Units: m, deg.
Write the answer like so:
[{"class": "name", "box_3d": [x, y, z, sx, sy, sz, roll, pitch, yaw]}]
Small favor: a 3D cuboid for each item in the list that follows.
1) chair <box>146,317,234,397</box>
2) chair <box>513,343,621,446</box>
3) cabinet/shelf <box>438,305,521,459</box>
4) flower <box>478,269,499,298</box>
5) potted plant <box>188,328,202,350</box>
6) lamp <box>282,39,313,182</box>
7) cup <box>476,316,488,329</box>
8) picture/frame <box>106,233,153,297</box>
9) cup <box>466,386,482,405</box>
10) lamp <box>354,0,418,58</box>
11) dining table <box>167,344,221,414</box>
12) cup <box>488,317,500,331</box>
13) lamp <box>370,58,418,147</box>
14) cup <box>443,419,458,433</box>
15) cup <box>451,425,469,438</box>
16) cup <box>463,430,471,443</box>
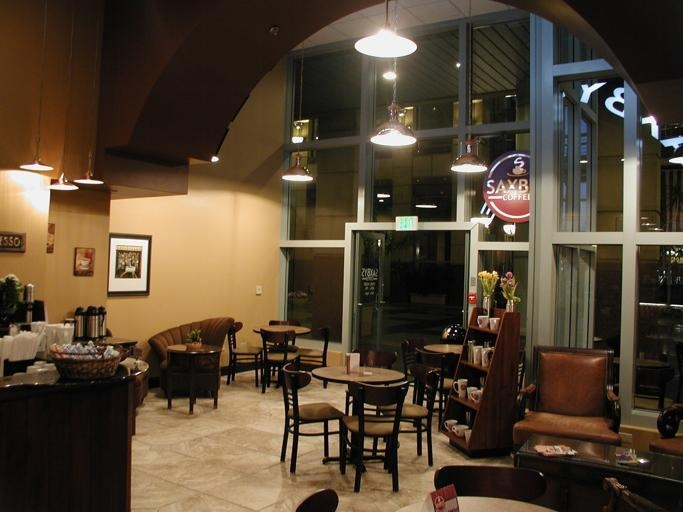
[{"class": "chair", "box_3d": [-2.341, 1.604, 9.117, 1.258, 1.287, 1.300, -6, -10, 20]}, {"class": "chair", "box_3d": [2.478, 1.745, 6.177, 0.961, 1.455, 1.045, 0, -4, 26]}, {"class": "cabinet/shelf", "box_3d": [1.797, 1.368, 6.778, 0.489, 1.368, 0.580, 7, -6, 9]}, {"class": "flower", "box_3d": [1.871, 0.359, 7.133, 0.188, 0.344, 0.512, 1, 4, 18]}, {"class": "potted plant", "box_3d": [-2.231, 1.257, 8.527, 0.234, 0.377, 0.248, -1, 0, -19]}, {"class": "lamp", "box_3d": [-0.661, -2.180, 8.946, 0.402, 1.894, 0.421, 3, 0, 15]}, {"class": "cup", "box_3d": [1.759, 0.817, 7.020, 0.121, 0.111, 0.103, -1, -3, 3]}, {"class": "picture/frame", "box_3d": [-3.262, 0.106, 8.679, 0.656, 0.996, 0.071, 3, -25, -23]}, {"class": "cup", "box_3d": [1.565, 1.645, 6.632, 0.186, 0.144, 0.124, 0, 0, -39]}, {"class": "lamp", "box_3d": [0.369, -1.923, 4.672, 0.372, 0.503, 0.388, -2, 4, -38]}, {"class": "dining table", "box_3d": [-2.248, 1.843, 8.580, 0.728, 0.915, 0.797, -1, -7, 18]}, {"class": "cup", "box_3d": [1.833, 0.833, 6.834, 0.123, 0.149, 0.127, 1, -3, 0]}, {"class": "lamp", "box_3d": [0.573, -1.716, 6.054, 0.410, 0.824, 0.427, 9, 16, 35]}, {"class": "cup", "box_3d": [1.316, 2.047, 6.859, 0.117, 0.114, 0.144, 1, -1, -42]}, {"class": "cup", "box_3d": [1.414, 2.081, 6.696, 0.135, 0.083, 0.119, -2, -6, 6]}, {"class": "cup", "box_3d": [1.455, 2.069, 6.482, 0.094, 0.124, 0.107, 1, -5, -8]}]
